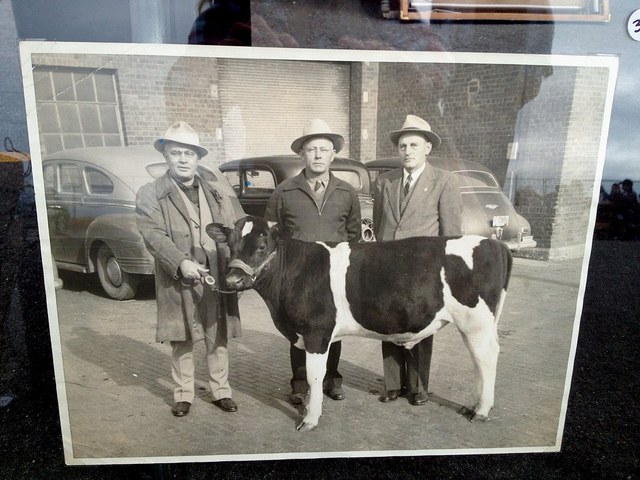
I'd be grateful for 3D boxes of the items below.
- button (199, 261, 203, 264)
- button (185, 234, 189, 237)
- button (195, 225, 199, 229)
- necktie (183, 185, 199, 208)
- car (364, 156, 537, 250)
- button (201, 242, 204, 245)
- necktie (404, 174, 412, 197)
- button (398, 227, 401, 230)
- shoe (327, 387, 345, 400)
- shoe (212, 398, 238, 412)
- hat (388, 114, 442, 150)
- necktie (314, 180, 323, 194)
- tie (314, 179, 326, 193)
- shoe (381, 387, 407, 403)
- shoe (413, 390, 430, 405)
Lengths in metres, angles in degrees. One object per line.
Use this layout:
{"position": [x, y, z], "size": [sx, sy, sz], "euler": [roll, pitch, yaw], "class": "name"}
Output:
{"position": [-0.914, 0.172, 4.464], "size": [0.019, 0.020, 0.005], "euler": [-2, -10, -15], "class": "button"}
{"position": [-1.010, -0.036, 4.420], "size": [0.028, 0.021, 0.004], "euler": [-4, 16, -12], "class": "button"}
{"position": [-0.942, -0.106, 4.439], "size": [0.018, 0.028, 0.006], "euler": [8, 0, -4], "class": "button"}
{"position": [-0.970, -0.345, 4.423], "size": [0.116, 0.132, 0.033], "euler": [-9, 1, -10], "class": "necktie"}
{"position": [0.979, -0.277, 5.210], "size": [0.826, 0.955, 1.926], "euler": [-3, 7, -23], "class": "car"}
{"position": [-0.898, 0.024, 4.454], "size": [0.020, 0.016, 0.003], "euler": [-4, 16, -13], "class": "button"}
{"position": [0.690, -0.433, 4.573], "size": [0.030, 0.134, 0.067], "euler": [10, 0, -44], "class": "necktie"}
{"position": [0.624, -0.093, 4.586], "size": [0.028, 0.017, 0.016], "euler": [16, 11, 28], "class": "button"}
{"position": [0.131, 1.239, 4.641], "size": [0.142, 0.068, 0.070], "euler": [6, -4, -18], "class": "shoe"}
{"position": [-0.745, 1.294, 4.588], "size": [0.182, 0.086, 0.081], "euler": [3, 11, 25], "class": "shoe"}
{"position": [0.692, -0.894, 4.545], "size": [0.383, 0.166, 0.333], "euler": [-13, 16, -30], "class": "hat"}
{"position": [-0.016, -0.428, 4.555], "size": [0.052, 0.102, 0.023], "euler": [1, 7, -3], "class": "necktie"}
{"position": [0.001, -0.426, 4.559], "size": [0.067, 0.103, 0.024], "euler": [2, 4, -8], "class": "tie"}
{"position": [0.588, 1.264, 4.756], "size": [0.238, 0.114, 0.083], "euler": [-2, 9, -24], "class": "shoe"}
{"position": [0.814, 1.281, 4.681], "size": [0.097, 0.103, 0.102], "euler": [0, -2, -4], "class": "shoe"}
